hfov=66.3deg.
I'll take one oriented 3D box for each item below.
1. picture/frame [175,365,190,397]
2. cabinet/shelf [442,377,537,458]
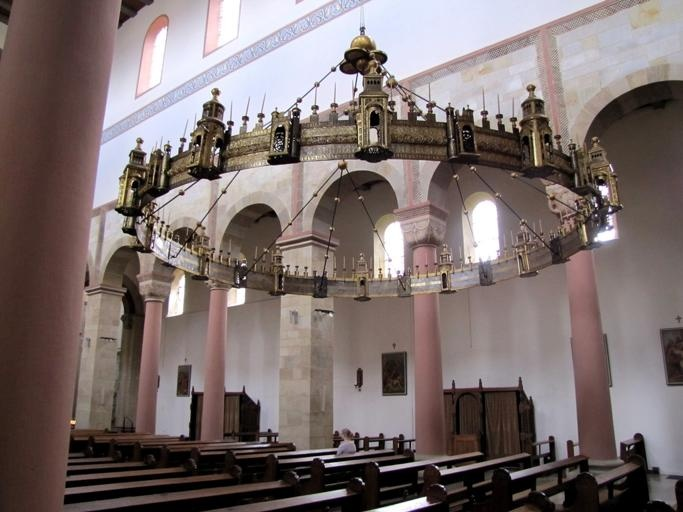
[{"bbox_3d":[-5.984,4.750,19.673,0.878,1.319,0.126,-19,-27,40],"label":"picture/frame"},{"bbox_3d":[3.410,3.919,12.921,1.953,2.128,1.574,-10,-5,22],"label":"cabinet/shelf"}]
